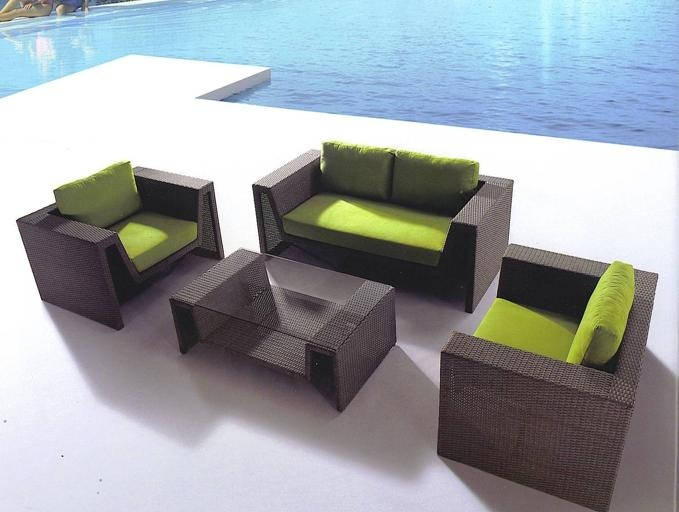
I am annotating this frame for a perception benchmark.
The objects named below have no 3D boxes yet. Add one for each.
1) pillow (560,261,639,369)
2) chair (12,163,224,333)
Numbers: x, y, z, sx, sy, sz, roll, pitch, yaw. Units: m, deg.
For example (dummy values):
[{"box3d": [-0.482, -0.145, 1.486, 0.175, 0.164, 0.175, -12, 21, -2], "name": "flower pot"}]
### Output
[{"box3d": [1.393, 0.323, 2.856, 0.184, 0.246, 0.533, 17, 40, 30], "name": "pillow"}, {"box3d": [-1.680, -0.117, 4.376, 0.875, 0.709, 1.184, 18, 37, 27], "name": "chair"}]
